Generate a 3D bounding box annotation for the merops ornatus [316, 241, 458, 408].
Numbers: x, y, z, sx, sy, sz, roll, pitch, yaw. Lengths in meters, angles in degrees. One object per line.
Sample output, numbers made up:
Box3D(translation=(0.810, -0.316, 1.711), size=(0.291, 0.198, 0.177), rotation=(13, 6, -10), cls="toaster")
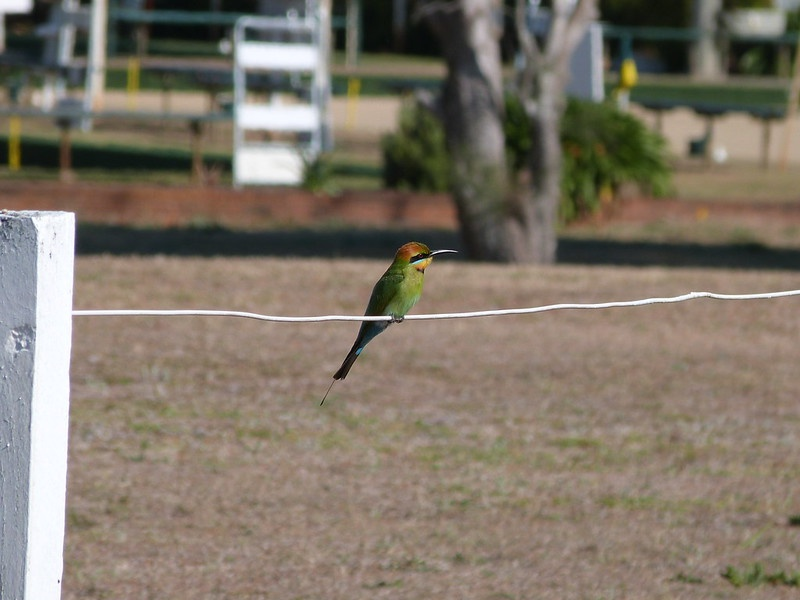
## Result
Box3D(translation=(-0.040, 0.045, 12.127), size=(0.566, 0.732, 0.608), rotation=(1, 7, 1), cls="merops ornatus")
